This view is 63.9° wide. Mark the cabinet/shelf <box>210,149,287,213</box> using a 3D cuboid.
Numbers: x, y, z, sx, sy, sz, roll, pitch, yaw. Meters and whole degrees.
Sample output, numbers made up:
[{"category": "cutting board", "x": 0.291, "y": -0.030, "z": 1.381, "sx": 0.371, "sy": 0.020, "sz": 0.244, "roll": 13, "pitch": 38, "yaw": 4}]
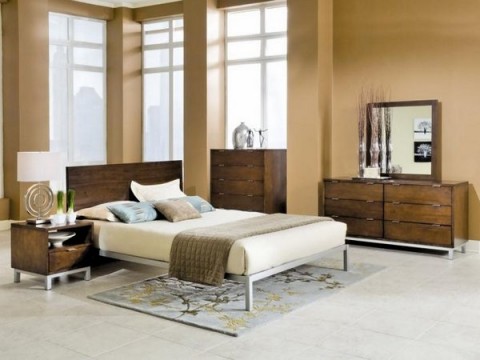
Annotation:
[{"category": "cabinet/shelf", "x": 0.151, "y": 0.075, "z": 7.476, "sx": 1.381, "sy": 1.293, "sz": 0.826, "roll": 3, "pitch": 6, "yaw": 40}]

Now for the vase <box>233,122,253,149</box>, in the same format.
[{"category": "vase", "x": 0.032, "y": -0.850, "z": 7.363, "sx": 0.390, "sy": 0.502, "sz": 0.138, "roll": 0, "pitch": 3, "yaw": -1}]

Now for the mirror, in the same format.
[{"category": "mirror", "x": 2.674, "y": -0.602, "z": 6.154, "sx": 1.439, "sy": 1.593, "sz": 0.124, "roll": 1, "pitch": 1, "yaw": 32}]

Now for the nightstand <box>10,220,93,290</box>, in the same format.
[{"category": "nightstand", "x": -2.235, "y": 0.873, "z": 4.568, "sx": 0.781, "sy": 0.608, "sz": 0.770, "roll": -1, "pitch": -3, "yaw": 14}]

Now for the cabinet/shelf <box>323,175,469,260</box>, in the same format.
[{"category": "cabinet/shelf", "x": 2.451, "y": 0.560, "z": 6.169, "sx": 0.718, "sy": 1.030, "sz": 2.122, "roll": -2, "pitch": 2, "yaw": -42}]

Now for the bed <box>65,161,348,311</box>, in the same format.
[{"category": "bed", "x": -0.640, "y": 0.543, "z": 4.847, "sx": 2.729, "sy": 1.374, "sz": 2.025, "roll": 2, "pitch": 4, "yaw": 38}]
